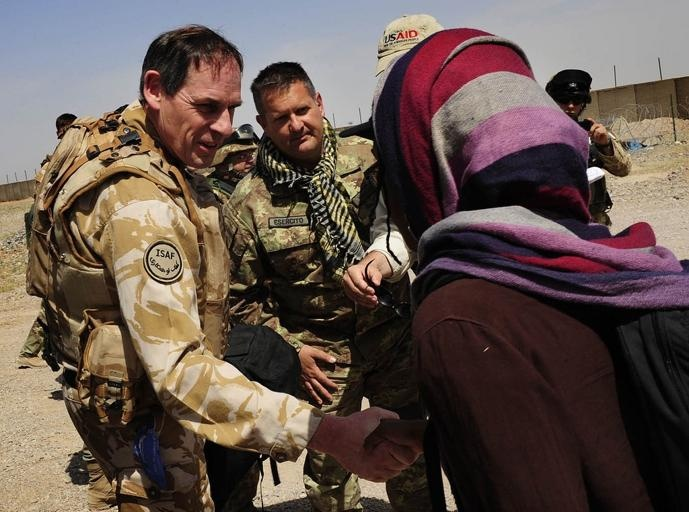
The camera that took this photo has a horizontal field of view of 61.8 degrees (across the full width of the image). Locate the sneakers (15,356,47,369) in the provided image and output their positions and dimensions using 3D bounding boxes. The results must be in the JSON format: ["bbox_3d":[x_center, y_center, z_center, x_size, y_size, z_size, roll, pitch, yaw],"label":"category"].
[{"bbox_3d":[-4.029,1.376,7.432,0.453,0.199,0.161,2,3,-28],"label":"sneakers"}]
